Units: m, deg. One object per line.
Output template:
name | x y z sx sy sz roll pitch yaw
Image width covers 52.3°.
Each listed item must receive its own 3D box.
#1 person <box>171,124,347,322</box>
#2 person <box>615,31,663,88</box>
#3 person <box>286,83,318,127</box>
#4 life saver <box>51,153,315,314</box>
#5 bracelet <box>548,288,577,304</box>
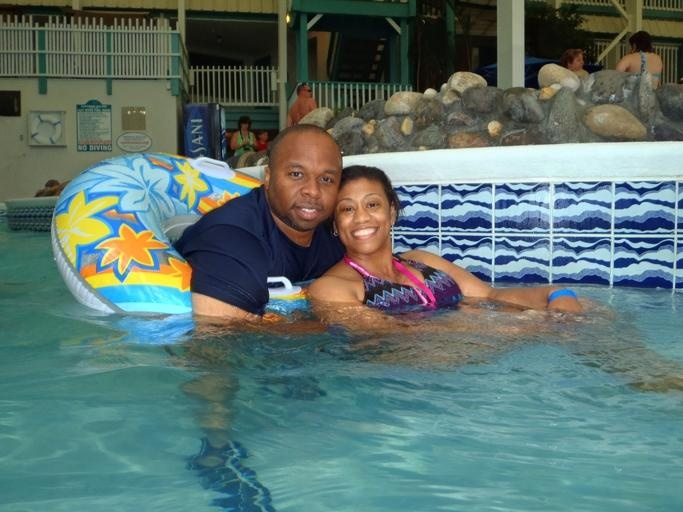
person | -0.347 -0.188 3.423 0.897 0.889 0.481 -6 9 -39
person | 3.377 -2.224 7.863 0.416 0.753 1.104 3 7 25
person | -0.640 -2.394 10.910 0.398 0.688 0.920 -1 7 -5
life saver | -0.933 0.043 3.814 1.254 0.343 1.090 6 28 -27
bracelet | 1.053 0.190 3.364 0.096 0.026 0.087 -8 8 -26
